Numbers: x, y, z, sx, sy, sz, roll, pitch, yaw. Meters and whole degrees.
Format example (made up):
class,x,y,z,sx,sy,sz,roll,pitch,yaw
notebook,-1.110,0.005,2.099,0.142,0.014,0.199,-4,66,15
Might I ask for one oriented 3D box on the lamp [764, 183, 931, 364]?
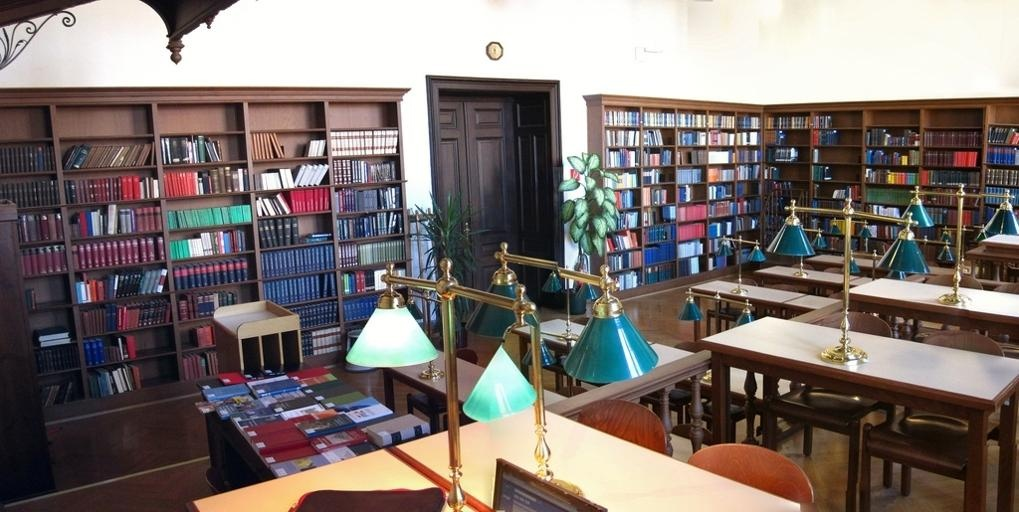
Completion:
class,x,y,z,sx,sy,sz,roll,pitch,yaw
lamp,5.101,0.231,9.410,2.971,2.788,0.898,5,7,35

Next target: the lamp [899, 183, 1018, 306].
class,x,y,z,sx,sy,sz,roll,pitch,yaw
lamp,7.283,-0.168,10.193,0.666,2.047,2.141,-6,8,-41

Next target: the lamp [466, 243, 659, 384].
class,x,y,z,sx,sy,sz,roll,pitch,yaw
lamp,0.419,0.449,5.700,1.987,0.835,0.918,11,22,39
